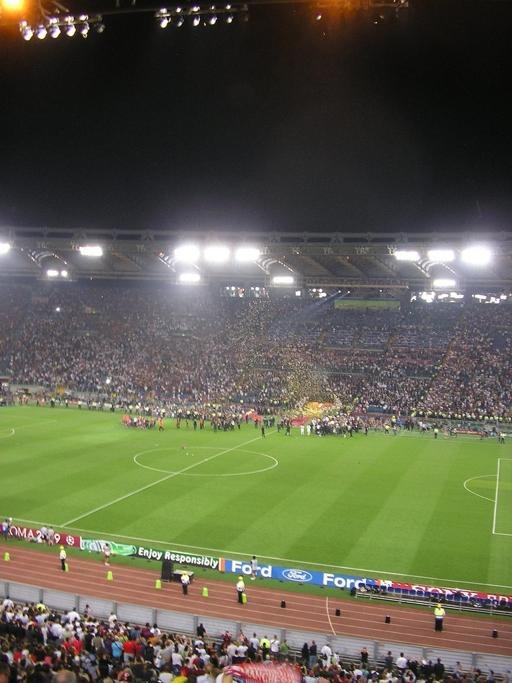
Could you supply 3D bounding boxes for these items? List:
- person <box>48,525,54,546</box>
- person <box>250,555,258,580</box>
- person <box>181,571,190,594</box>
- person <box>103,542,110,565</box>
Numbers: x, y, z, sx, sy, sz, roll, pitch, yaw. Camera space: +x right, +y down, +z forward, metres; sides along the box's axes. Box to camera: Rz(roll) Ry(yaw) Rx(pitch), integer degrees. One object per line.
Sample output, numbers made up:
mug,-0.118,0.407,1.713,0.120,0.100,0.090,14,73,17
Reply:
person,-8.128,7.844,29.060,0.253,0.729,0.168,-8,13,-19
person,-0.067,8.137,26.040,0.245,1.011,0.511,-4,13,-4
person,-2.393,8.285,24.942,0.267,0.855,0.711,-6,13,-10
person,-5.582,8.043,27.538,0.277,0.811,0.942,-6,13,-12
